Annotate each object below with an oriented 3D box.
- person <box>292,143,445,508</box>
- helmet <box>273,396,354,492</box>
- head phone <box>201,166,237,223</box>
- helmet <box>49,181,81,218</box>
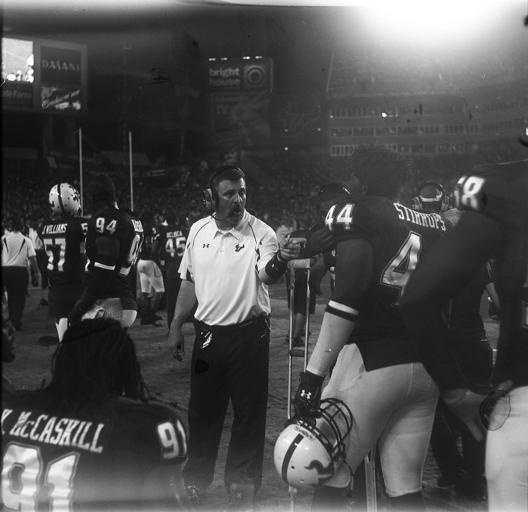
[{"bbox_3d":[0.342,0.317,2.078,0.443,0.998,0.286,4,9,15],"label":"person"},{"bbox_3d":[0.168,0.595,2.119,0.216,0.296,0.210,33,-3,18],"label":"helmet"},{"bbox_3d":[-0.183,-0.249,2.536,0.107,0.177,0.066,1,21,-12],"label":"head phone"},{"bbox_3d":[-0.808,-0.224,2.585,0.093,0.158,0.135,0,-7,-3],"label":"helmet"}]
